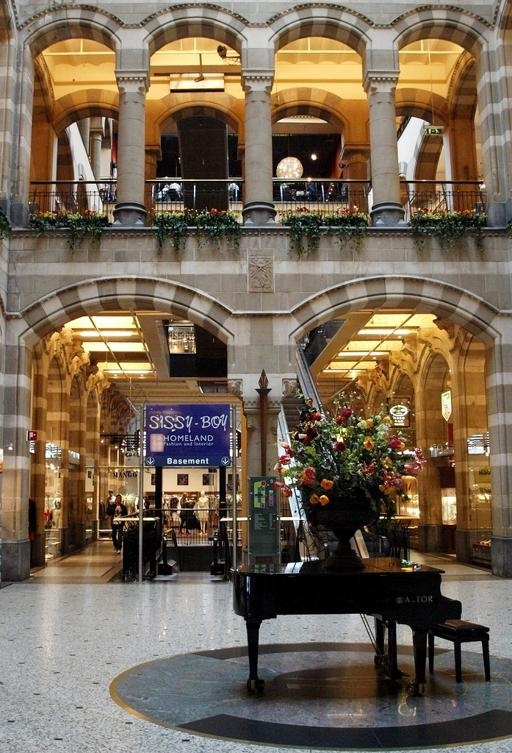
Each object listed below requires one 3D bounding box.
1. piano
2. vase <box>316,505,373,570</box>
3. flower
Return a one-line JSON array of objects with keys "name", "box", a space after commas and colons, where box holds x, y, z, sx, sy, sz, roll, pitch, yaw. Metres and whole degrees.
[{"name": "piano", "box": [0.537, 1.433, 4.957, 1.104, 0.634, 1.029, -1, -4, -3]}, {"name": "vase", "box": [0.595, 1.115, 5.121, 0.389, 0.411, 0.378, 2, -9, -1]}, {"name": "flower", "box": [0.619, 0.552, 5.346, 0.879, 1.009, 0.863, 2, 3, 32]}]
